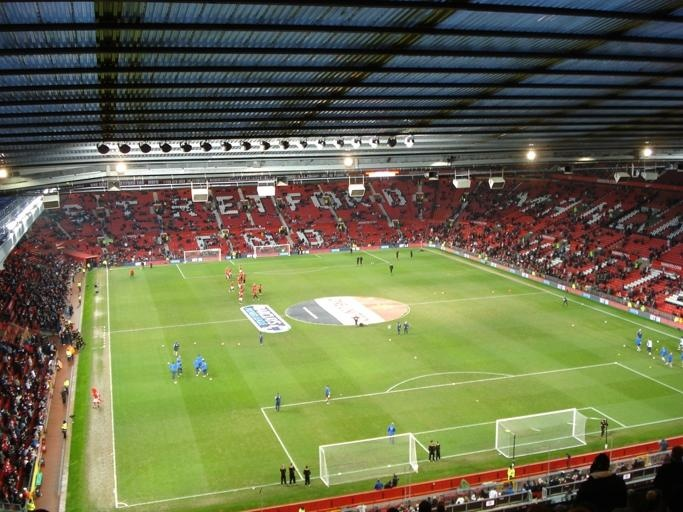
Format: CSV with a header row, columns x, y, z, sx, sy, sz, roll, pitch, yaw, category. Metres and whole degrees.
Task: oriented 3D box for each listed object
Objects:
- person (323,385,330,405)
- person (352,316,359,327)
x,y,z,sx,sy,sz,roll,pitch,yaw,category
-0.960,9.066,32.083,0.432,1.028,1.730,-13,-2,-2,person
1.254,6.145,45.136,0.439,1.085,0.649,3,17,16,person
